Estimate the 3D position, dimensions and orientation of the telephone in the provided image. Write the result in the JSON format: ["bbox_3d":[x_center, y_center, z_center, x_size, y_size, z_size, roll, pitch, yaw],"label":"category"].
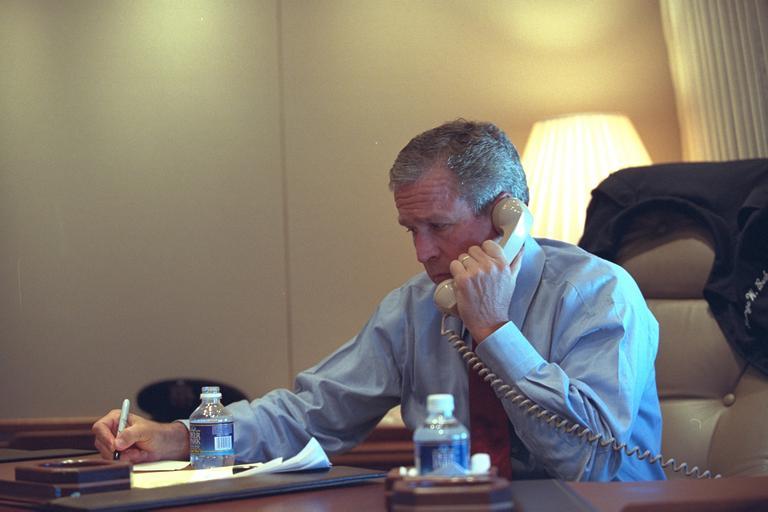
[{"bbox_3d":[0.284,0.007,2.246,0.401,0.193,0.147,-41,-9,-2],"label":"telephone"}]

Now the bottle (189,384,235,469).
[{"bbox_3d":[-0.449,0.440,2.022,0.120,0.202,0.232,-1,-4,-12],"label":"bottle"}]

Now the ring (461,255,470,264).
[{"bbox_3d":[0.225,0.009,2.123,0.021,0.015,0.021,-1,-27,-1],"label":"ring"}]

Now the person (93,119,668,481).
[{"bbox_3d":[0.177,0.080,2.258,1.370,0.834,1.030,9,-14,-34],"label":"person"}]

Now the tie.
[{"bbox_3d":[0.276,0.438,2.073,0.114,0.278,0.108,-3,-3,13],"label":"tie"}]
